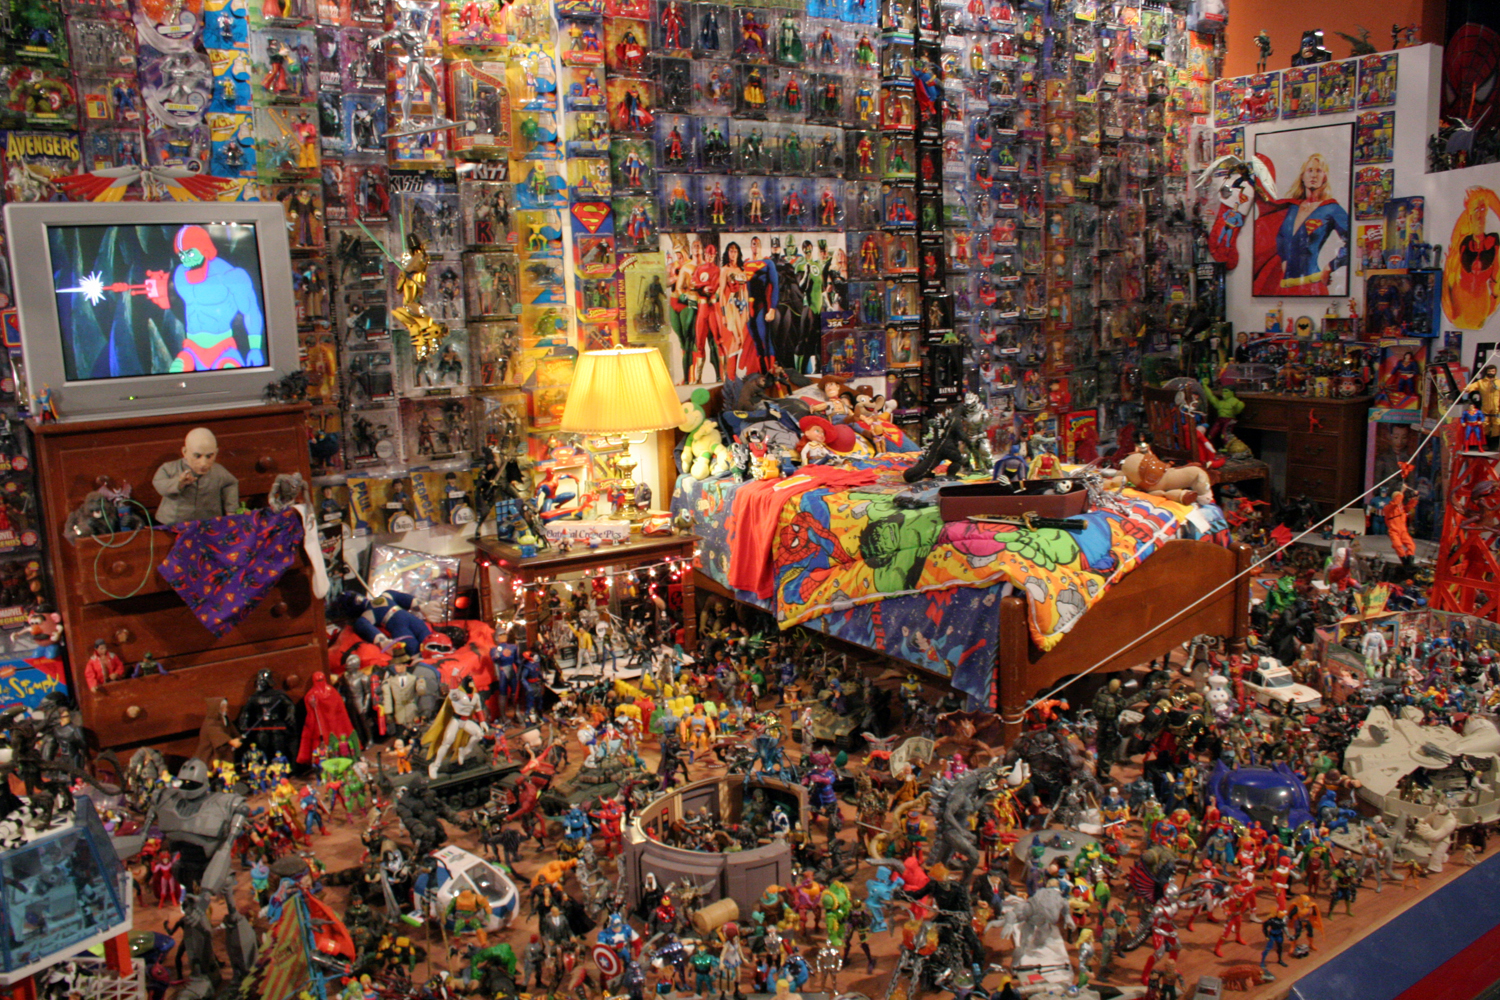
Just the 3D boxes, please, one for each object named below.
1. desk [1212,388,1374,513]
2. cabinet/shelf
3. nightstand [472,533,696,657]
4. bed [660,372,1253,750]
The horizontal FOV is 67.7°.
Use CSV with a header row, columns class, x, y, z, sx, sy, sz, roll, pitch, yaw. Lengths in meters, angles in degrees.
class,x,y,z,sx,sy,sz,roll,pitch,yaw
desk,4.709,-0.404,9.722,0.694,1.034,1.082,-10,15,-31
cabinet/shelf,-3.062,0.337,6.214,1.401,1.995,0.692,-4,26,-25
nightstand,-1.037,0.289,7.078,1.124,0.942,0.685,-6,7,-38
bed,0.927,0.205,6.470,2.422,0.967,1.761,18,29,41
